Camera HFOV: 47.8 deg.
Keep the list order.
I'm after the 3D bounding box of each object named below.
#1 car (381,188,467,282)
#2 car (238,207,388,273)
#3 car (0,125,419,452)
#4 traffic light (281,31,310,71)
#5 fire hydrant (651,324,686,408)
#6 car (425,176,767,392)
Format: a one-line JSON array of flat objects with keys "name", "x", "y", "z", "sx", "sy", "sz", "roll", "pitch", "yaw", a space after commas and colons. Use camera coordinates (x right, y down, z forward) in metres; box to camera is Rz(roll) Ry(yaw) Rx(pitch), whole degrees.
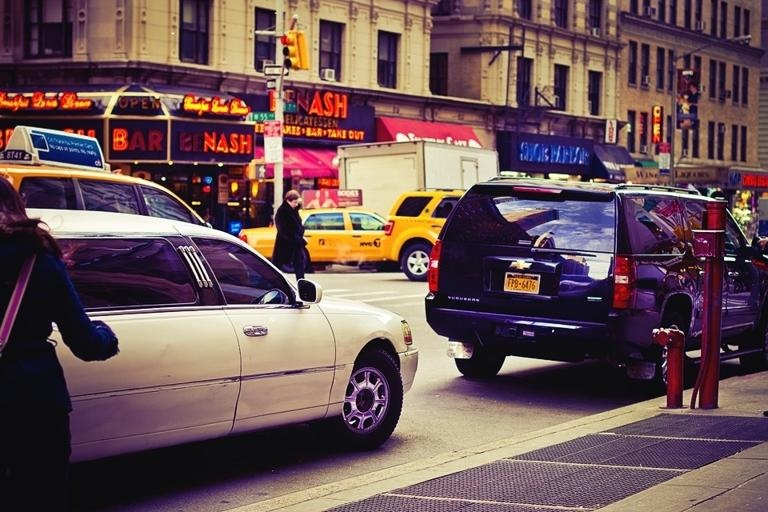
[{"name": "car", "x": 0.858, "y": -0.737, "z": 23.619, "sx": 2.639, "sy": 1.479, "sz": 1.637, "roll": -4, "pitch": 5, "yaw": 1}, {"name": "car", "x": -1.972, "y": -0.520, "z": 24.925, "sx": 3.902, "sy": 1.349, "sz": 1.708, "roll": -4, "pitch": 2, "yaw": -14}, {"name": "car", "x": -1.404, "y": 0.688, "z": 7.979, "sx": 3.723, "sy": 1.816, "sz": 1.854, "roll": 1, "pitch": -1, "yaw": -45}, {"name": "traffic light", "x": -2.500, "y": -5.765, "z": 24.322, "sx": 0.598, "sy": 1.056, "sz": 0.944, "roll": -3, "pitch": 1, "yaw": -8}, {"name": "fire hydrant", "x": 2.958, "y": 1.164, "z": 9.035, "sx": 0.277, "sy": 0.643, "sz": 0.475, "roll": -2, "pitch": 1, "yaw": 17}, {"name": "car", "x": 2.951, "y": 0.217, "z": 10.888, "sx": 2.221, "sy": 1.700, "sz": 3.886, "roll": 0, "pitch": 2, "yaw": 42}]
